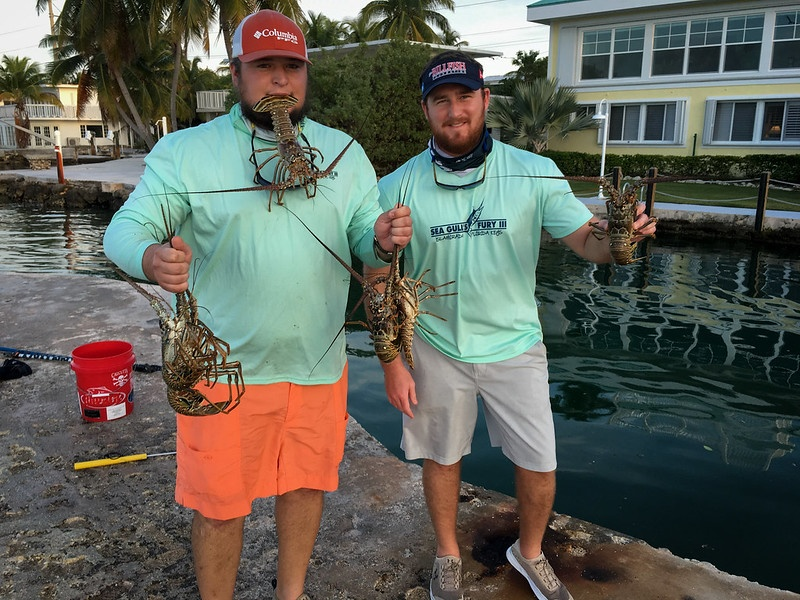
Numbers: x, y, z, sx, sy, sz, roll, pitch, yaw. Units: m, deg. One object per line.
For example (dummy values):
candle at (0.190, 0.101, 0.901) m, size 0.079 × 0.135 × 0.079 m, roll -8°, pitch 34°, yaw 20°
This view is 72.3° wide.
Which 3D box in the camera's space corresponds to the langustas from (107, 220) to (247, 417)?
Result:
langustas at (-1.003, 0.135, 2.715) m, size 0.404 × 1.002 × 0.424 m, roll -5°, pitch 13°, yaw -16°

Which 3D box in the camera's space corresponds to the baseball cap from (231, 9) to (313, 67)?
baseball cap at (-0.670, -1.355, 2.821) m, size 0.288 × 0.194 × 0.364 m, roll -8°, pitch 35°, yaw -20°

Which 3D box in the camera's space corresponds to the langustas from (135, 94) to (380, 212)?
langustas at (-0.650, -0.786, 2.916) m, size 0.901 × 0.587 × 0.298 m, roll -5°, pitch 13°, yaw -19°

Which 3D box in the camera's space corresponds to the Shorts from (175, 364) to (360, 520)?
Shorts at (-0.759, 0.661, 3.400) m, size 1.334 × 1.092 × 0.723 m, roll -1°, pitch 3°, yaw -27°

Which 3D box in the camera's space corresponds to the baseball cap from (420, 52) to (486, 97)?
baseball cap at (0.307, -1.410, 3.401) m, size 0.392 × 0.276 × 0.210 m, roll 0°, pitch 12°, yaw 5°

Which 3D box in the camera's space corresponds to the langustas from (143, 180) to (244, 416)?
langustas at (-1.041, 0.110, 2.750) m, size 0.411 × 0.249 × 1.019 m, roll -22°, pitch 57°, yaw -4°

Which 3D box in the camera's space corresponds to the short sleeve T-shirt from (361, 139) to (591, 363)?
short sleeve T-shirt at (0.528, -0.326, 3.653) m, size 1.661 × 1.308 × 0.563 m, roll -3°, pitch 11°, yaw 19°
